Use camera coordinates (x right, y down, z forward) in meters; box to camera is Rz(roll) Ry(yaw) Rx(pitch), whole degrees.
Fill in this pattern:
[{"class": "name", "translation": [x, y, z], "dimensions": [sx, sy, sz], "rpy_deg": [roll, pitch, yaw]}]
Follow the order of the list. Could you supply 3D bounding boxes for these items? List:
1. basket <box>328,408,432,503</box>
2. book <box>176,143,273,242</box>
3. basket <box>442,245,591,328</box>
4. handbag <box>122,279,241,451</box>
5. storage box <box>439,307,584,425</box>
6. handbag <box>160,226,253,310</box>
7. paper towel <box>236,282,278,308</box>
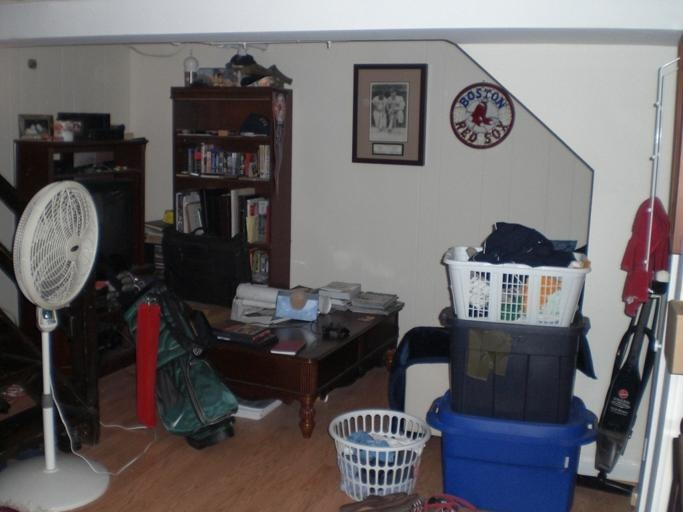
[{"class": "basket", "translation": [0.228, 1.197, 3.699], "dimensions": [0.501, 0.369, 0.547], "rpy_deg": [1, 0, -8]}, {"class": "book", "translation": [-1.028, -0.551, 5.598], "dimensions": [0.749, 0.783, 0.257], "rpy_deg": [4, 8, 22]}, {"class": "basket", "translation": [0.902, 0.174, 3.247], "dimensions": [0.517, 0.262, 0.406], "rpy_deg": [2, 5, 11]}, {"class": "handbag", "translation": [-1.007, 0.695, 3.994], "dimensions": [0.726, 0.998, 0.361], "rpy_deg": [9, 15, 29]}, {"class": "storage box", "translation": [0.906, 0.585, 3.340], "dimensions": [0.603, 0.499, 0.528], "rpy_deg": [1, 3, 12]}, {"class": "handbag", "translation": [-1.105, 0.106, 5.268], "dimensions": [0.538, 0.446, 0.220], "rpy_deg": [12, 26, 22]}, {"class": "paper towel", "translation": [-0.625, 0.305, 4.739], "dimensions": [0.345, 0.140, 0.140], "rpy_deg": [10, 16, 31]}]
